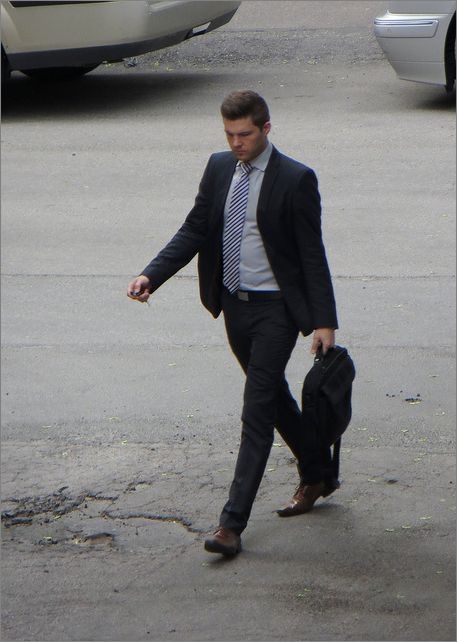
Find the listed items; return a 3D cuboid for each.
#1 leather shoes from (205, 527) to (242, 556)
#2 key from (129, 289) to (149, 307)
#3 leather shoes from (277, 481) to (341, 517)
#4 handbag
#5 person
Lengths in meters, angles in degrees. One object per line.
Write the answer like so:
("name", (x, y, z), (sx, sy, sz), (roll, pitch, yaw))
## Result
("leather shoes", (-0.016, 0.918, 4.075), (0.082, 0.082, 0.187), (-2, -22, 25))
("key", (-0.454, -0.123, 4.963), (0.084, 0.031, 0.105), (8, 25, -48))
("leather shoes", (0.375, 0.827, 4.514), (0.247, 0.101, 0.075), (-22, 24, -7))
("handbag", (0.451, 0.364, 4.403), (0.178, 0.506, 0.396), (7, 41, 17))
("person", (0.023, -0.027, 4.307), (0.692, 1.947, 0.678), (-14, 19, -39))
